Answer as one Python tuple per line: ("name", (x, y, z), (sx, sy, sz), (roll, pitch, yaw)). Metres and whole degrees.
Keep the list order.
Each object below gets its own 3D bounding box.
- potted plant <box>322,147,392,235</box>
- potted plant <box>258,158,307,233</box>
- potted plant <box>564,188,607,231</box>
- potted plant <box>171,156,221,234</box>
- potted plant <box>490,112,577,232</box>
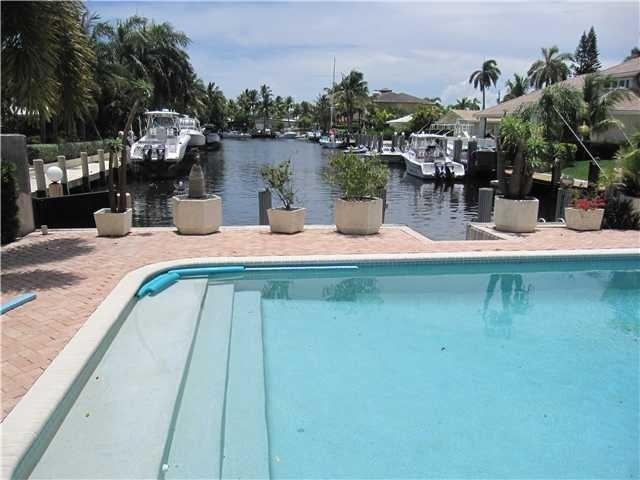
("potted plant", (0.938, -1.230, 12.037), (1.426, 1.963, 1.648), (0, 11, 5))
("potted plant", (-0.880, -1.060, 11.778), (0.882, 1.730, 0.915), (-2, 10, -2))
("potted plant", (6.967, -0.776, 12.399), (0.689, 1.043, 0.626), (-4, 6, -15))
("potted plant", (-2.988, -1.114, 11.774), (1.518, 2.374, 1.446), (0, 5, -5))
("potted plant", (5.468, -1.754, 12.892), (2.113, 3.104, 1.769), (-8, 11, -37))
